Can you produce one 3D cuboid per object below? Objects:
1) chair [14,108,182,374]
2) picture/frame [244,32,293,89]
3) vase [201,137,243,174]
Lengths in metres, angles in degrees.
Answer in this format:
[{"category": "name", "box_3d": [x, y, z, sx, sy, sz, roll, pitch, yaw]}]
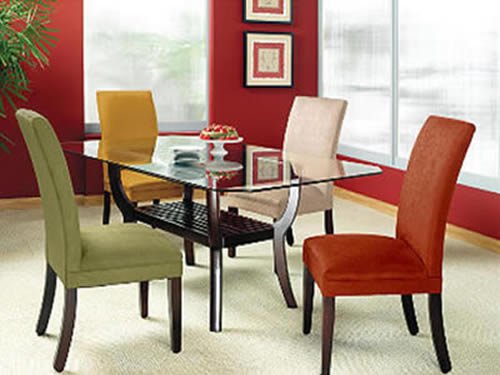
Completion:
[{"category": "chair", "box_3d": [-0.700, 0.222, 2.138, 0.738, 1.148, 0.416, -3, 15, -13]}, {"category": "picture/frame", "box_3d": [0.190, -1.471, 5.227, 0.643, 0.649, 0.045, -1, 5, -18]}, {"category": "vase", "box_3d": [-0.159, -0.158, 2.615, 0.258, 0.164, 0.259, -5, 9, -34]}]
